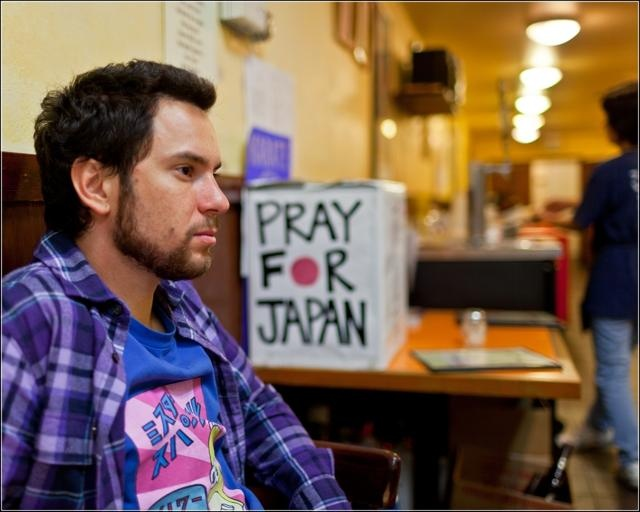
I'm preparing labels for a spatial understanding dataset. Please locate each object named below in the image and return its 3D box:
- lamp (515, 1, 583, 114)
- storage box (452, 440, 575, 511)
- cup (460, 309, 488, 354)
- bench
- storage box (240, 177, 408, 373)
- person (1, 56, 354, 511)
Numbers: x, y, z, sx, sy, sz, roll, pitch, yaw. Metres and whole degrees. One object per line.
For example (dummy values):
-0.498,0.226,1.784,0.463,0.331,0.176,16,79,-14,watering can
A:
0.636,-0.577,1.593,0.154,0.240,0.118,1,4,16,lamp
0.671,0.811,2.017,0.311,0.209,0.325,-5,-13,25,storage box
0.473,0.227,1.850,0.090,0.162,0.096,1,-7,0,cup
0.760,0.401,2.679,0.698,1.405,0.772,1,-2,12,bench
0.054,0.051,1.887,0.530,0.503,0.572,-2,2,5,storage box
-0.284,0.081,1.138,0.607,0.907,0.343,-2,5,-27,person
